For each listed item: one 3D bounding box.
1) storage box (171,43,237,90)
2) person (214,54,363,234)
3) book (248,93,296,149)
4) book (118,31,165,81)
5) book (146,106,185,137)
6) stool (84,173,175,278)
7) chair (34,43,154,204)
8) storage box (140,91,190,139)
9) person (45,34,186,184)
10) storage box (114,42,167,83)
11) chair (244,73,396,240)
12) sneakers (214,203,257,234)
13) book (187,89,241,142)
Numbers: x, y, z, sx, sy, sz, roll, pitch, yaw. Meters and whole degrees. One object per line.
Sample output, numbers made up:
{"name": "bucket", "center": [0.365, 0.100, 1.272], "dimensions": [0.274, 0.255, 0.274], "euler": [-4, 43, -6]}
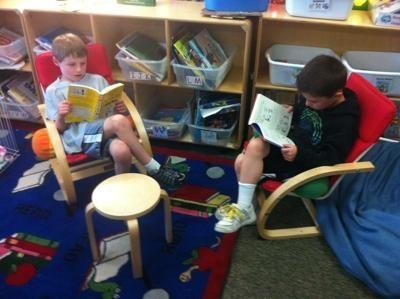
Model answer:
{"name": "storage box", "center": [0.030, -0.665, 2.244], "dimensions": [0.338, 0.147, 0.417], "euler": [11, 39, 18]}
{"name": "person", "center": [0.478, -0.020, 1.838], "dimensions": [0.895, 0.986, 0.574], "euler": [-4, 18, -12]}
{"name": "book", "center": [0.421, -0.163, 1.795], "dimensions": [0.329, 0.119, 0.325], "euler": [15, 57, -42]}
{"name": "book", "center": [-0.475, -0.723, 2.427], "dimensions": [0.364, 0.200, 0.454], "euler": [3, 38, -2]}
{"name": "book", "center": [-0.274, -0.227, 2.609], "dimensions": [0.253, 0.098, 0.301], "euler": [6, 30, 17]}
{"name": "stool", "center": [-0.415, 0.471, 1.718], "dimensions": [0.337, 0.415, 0.344], "euler": [20, 45, 21]}
{"name": "chair", "center": [-0.714, -0.301, 2.351], "dimensions": [0.792, 0.892, 1.186], "euler": [-17, 58, -17]}
{"name": "storage box", "center": [-0.283, -0.276, 2.693], "dimensions": [0.351, 0.155, 0.474], "euler": [4, 36, 11]}
{"name": "person", "center": [-0.616, -0.169, 1.988], "dimensions": [0.961, 1.080, 0.582], "euler": [20, 35, 33]}
{"name": "storage box", "center": [-0.458, -0.695, 2.348], "dimensions": [0.356, 0.159, 0.258], "euler": [7, 39, 10]}
{"name": "chair", "center": [0.798, 0.063, 2.187], "dimensions": [0.989, 1.041, 1.094], "euler": [-5, 28, 4]}
{"name": "sneakers", "center": [0.219, 0.423, 1.870], "dimensions": [0.278, 0.112, 0.154], "euler": [-9, 16, -32]}
{"name": "book", "center": [0.099, -0.257, 2.432], "dimensions": [0.369, 0.197, 0.474], "euler": [7, 43, 9]}
